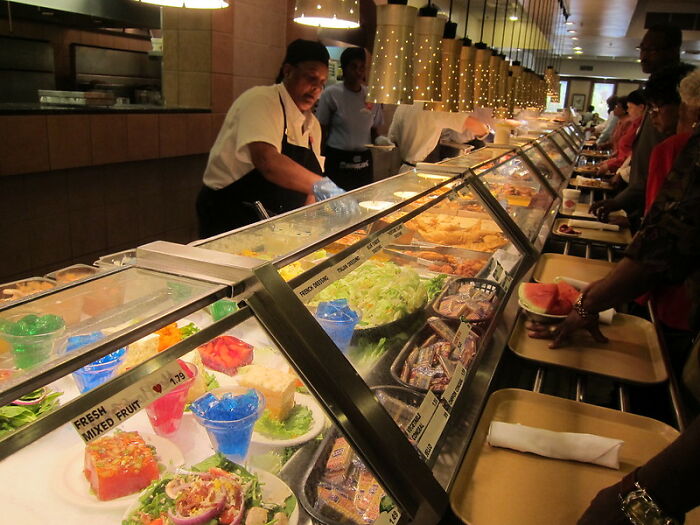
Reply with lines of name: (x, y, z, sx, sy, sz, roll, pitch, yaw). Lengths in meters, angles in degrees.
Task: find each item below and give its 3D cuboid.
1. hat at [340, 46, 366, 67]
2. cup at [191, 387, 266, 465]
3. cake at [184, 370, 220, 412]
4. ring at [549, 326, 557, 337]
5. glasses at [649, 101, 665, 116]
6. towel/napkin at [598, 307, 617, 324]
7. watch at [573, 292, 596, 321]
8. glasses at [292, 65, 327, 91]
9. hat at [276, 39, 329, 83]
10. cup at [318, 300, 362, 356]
hat: (0.023, -2.100, 4.470, 0.265, 0.203, 0.248, 5, 21, 9)
cup: (-0.273, 0.350, 0.981, 0.139, 0.167, 0.142, -1, 7, 0)
cake: (-0.334, 0.284, 0.995, 0.074, 0.039, 0.082, -4, 11, -18)
ring: (0.806, 0.274, 1.743, 0.016, 0.032, 0.030, 13, -16, -23)
glasses: (1.867, -0.942, 2.665, 0.074, 0.109, 0.036, 0, -2, 39)
towel/napkin: (1.123, 0.221, 1.937, 0.091, 0.034, 0.097, -3, 47, 34)
watch: (0.899, 0.167, 1.708, 0.086, 0.064, 0.031, 38, -13, -8)
glasses: (-0.237, -1.100, 2.550, 0.133, 0.076, 0.147, 2, 43, -16)
hat: (-0.265, -1.188, 2.572, 0.249, 0.251, 0.197, 23, 33, 17)
cup: (-0.042, 0.146, 1.115, 0.112, 0.118, 0.117, 1, 13, 0)
